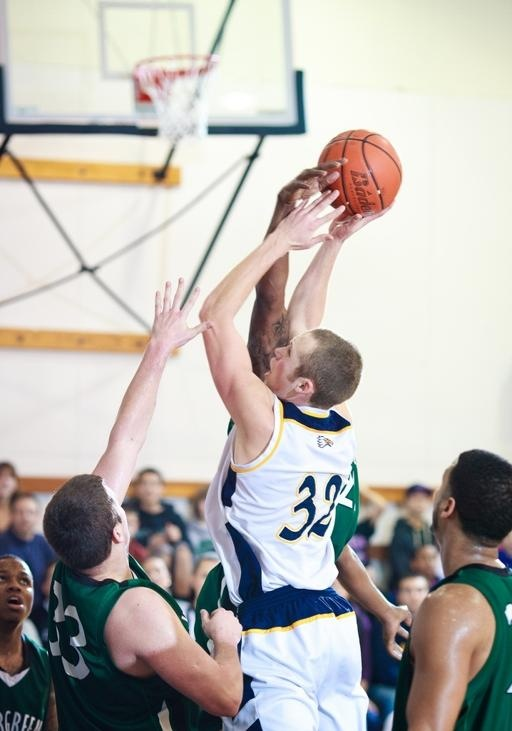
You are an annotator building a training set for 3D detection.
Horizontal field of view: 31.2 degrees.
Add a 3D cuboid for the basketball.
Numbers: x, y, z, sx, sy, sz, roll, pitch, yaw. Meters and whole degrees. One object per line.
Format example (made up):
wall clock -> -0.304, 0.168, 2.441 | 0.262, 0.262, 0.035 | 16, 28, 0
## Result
basketball -> 0.358, -0.552, 2.793 | 0.254, 0.289, 0.247 | 3, 32, 21
